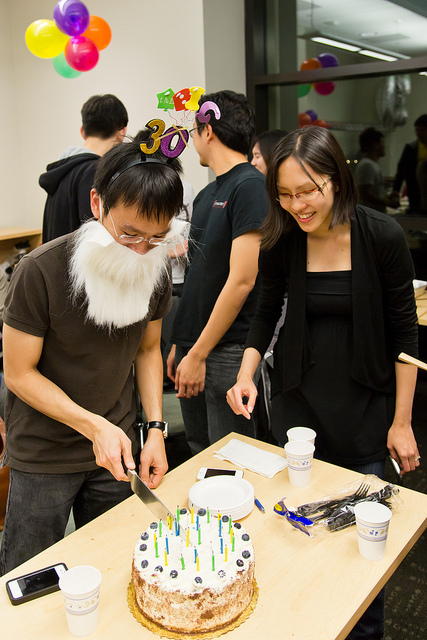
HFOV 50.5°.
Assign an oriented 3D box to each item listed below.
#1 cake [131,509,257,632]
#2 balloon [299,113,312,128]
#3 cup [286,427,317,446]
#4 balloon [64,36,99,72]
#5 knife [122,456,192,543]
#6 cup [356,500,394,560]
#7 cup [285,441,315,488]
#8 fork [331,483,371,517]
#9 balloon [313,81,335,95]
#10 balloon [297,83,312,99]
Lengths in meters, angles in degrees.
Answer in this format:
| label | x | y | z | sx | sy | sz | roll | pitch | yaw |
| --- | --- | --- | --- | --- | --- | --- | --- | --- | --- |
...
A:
| label | x | y | z | sx | sy | sz | roll | pitch | yaw |
| --- | --- | --- | --- | --- | --- | --- | --- | --- | --- |
| cake | -0.027 | 0.423 | 0.791 | 0.221 | 0.094 | 0.251 | -2 | 6 | -11 |
| balloon | 0.764 | -1.681 | 3.769 | 0.103 | 0.122 | 0.098 | 0 | 6 | 12 |
| cup | 0.228 | 0.303 | 1.185 | 0.048 | 0.038 | 0.051 | -1 | 8 | 0 |
| balloon | -0.662 | -1.362 | 2.269 | 0.156 | 0.182 | 0.156 | -3 | 6 | -20 |
| knife | -0.127 | 0.338 | 0.874 | 0.028 | 0.018 | 0.221 | -50 | 38 | -9 |
| cup | 0.296 | 0.406 | 0.849 | 0.060 | 0.074 | 0.062 | 1 | -1 | 0 |
| cup | 0.215 | 0.365 | 1.125 | 0.074 | 0.086 | 0.074 | -2 | 4 | 0 |
| fork | 0.303 | 0.402 | 0.998 | 0.015 | 0.013 | 0.106 | 18 | 51 | 45 |
| balloon | 0.890 | -1.876 | 3.652 | 0.179 | 0.062 | 0.109 | -1 | 6 | -3 |
| balloon | 0.719 | -1.865 | 3.664 | 0.100 | 0.069 | 0.164 | -6 | 8 | -41 |
